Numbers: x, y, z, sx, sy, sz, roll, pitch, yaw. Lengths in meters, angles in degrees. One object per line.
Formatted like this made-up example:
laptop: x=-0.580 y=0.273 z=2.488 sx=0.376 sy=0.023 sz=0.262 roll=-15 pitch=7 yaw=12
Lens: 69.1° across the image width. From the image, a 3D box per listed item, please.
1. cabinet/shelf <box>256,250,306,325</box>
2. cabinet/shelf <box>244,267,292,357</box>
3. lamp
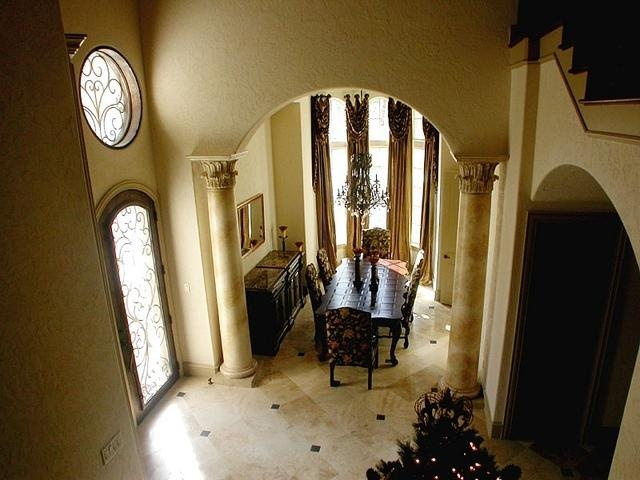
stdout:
cabinet/shelf: x=-0.770 y=0.996 z=8.409 sx=0.654 sy=1.170 sz=1.212 roll=9 pitch=33 yaw=23
cabinet/shelf: x=-0.844 y=1.058 z=7.849 sx=0.604 sy=1.192 sz=1.199 roll=3 pitch=24 yaw=18
lamp: x=0.780 y=-1.572 z=9.099 sx=0.899 sy=2.788 sz=2.443 roll=-1 pitch=9 yaw=3
